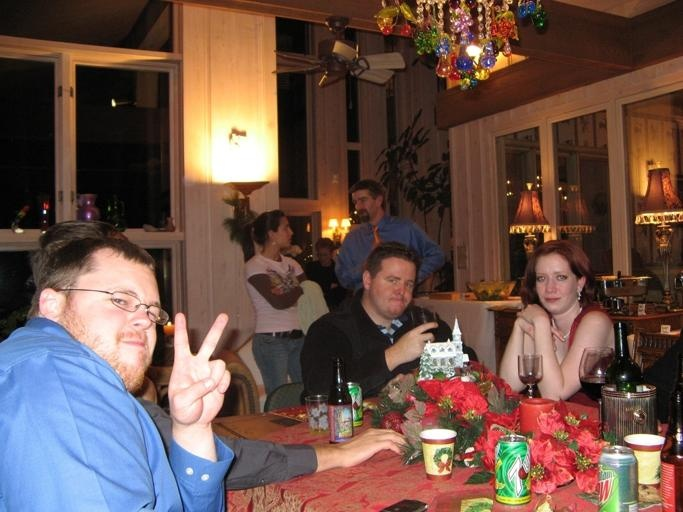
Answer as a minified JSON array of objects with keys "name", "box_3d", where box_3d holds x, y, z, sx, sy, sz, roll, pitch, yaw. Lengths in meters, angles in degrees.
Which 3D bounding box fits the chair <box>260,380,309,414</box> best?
[{"name":"chair","box_3d":[-0.256,0.644,2.758,0.124,0.174,0.138,2,-5,-22]}]

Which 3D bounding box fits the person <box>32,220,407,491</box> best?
[{"name":"person","box_3d":[-0.322,0.339,2.166,1.361,1.018,0.642,1,-4,-24]}]

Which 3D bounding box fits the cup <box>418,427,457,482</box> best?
[{"name":"cup","box_3d":[0.277,0.562,1.705,0.113,0.122,0.118,0,-5,0]}]

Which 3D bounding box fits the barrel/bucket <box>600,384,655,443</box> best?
[{"name":"barrel/bucket","box_3d":[0.827,0.446,1.760,0.155,0.187,0.166,0,-6,0]}]

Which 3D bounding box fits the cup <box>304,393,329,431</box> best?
[{"name":"cup","box_3d":[-0.079,0.572,2.177,0.102,0.125,0.107,-1,-8,0]}]

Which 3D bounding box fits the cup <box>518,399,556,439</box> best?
[{"name":"cup","box_3d":[0.572,0.476,1.779,0.100,0.118,0.118,1,-3,3]}]

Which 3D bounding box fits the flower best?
[{"name":"flower","box_3d":[0.446,0.495,1.690,0.385,0.178,0.377,1,0,-1]}]

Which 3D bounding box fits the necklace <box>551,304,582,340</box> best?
[{"name":"necklace","box_3d":[1.072,0.326,2.829,0.126,0.181,0.090,1,9,-3]}]

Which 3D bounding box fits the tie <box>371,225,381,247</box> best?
[{"name":"tie","box_3d":[0.283,-0.181,4.887,0.039,0.171,0.117,-8,6,11]}]

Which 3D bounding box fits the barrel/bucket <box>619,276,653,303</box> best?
[{"name":"barrel/bucket","box_3d":[2.233,0.223,4.588,0.280,0.177,0.362,-1,-3,11]}]

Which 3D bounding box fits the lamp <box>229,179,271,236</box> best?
[{"name":"lamp","box_3d":[-0.888,-0.540,5.601,0.356,0.423,0.358,-8,14,-43]}]

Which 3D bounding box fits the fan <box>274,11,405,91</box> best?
[{"name":"fan","box_3d":[-0.061,-1.761,4.959,1.083,0.452,1.096,-4,8,-35]}]
